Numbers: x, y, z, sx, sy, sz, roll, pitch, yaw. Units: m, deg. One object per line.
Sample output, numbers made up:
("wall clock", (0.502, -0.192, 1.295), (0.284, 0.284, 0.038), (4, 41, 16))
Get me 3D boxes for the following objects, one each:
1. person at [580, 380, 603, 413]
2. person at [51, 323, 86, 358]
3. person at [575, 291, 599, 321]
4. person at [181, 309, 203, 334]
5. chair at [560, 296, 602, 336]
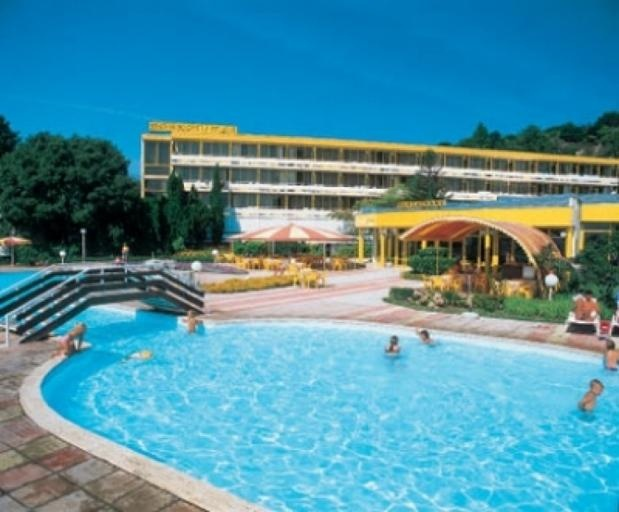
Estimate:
("person", (5.770, 2.789, 12.672), (0.338, 0.481, 0.717), (11, 18, 41))
("person", (-5.570, 1.887, 14.649), (0.248, 0.584, 1.305), (14, 15, 1))
("person", (7.474, 1.320, 16.554), (0.491, 0.857, 0.324), (-6, -43, 35))
("person", (-3.387, 1.761, 18.001), (0.595, 0.561, 0.887), (-5, 15, -15))
("chair", (7.450, 1.532, 16.664), (0.759, 0.537, 1.452), (4, 21, 31))
